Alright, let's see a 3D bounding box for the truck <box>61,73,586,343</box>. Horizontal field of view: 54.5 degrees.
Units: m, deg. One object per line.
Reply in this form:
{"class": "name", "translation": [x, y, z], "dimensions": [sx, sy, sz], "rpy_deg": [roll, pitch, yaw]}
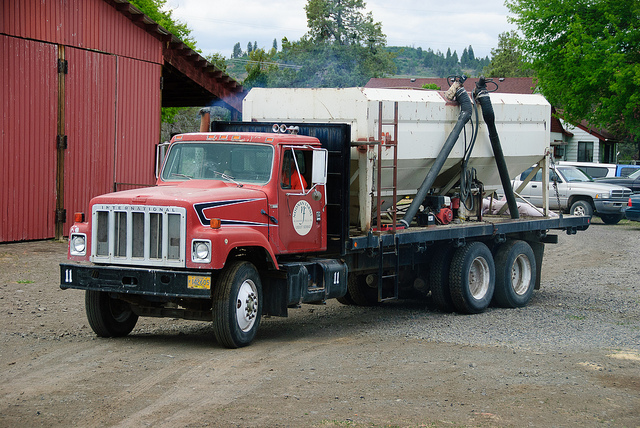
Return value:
{"class": "truck", "translation": [0.771, -0.182, 12.456], "dimensions": [10.279, 4.460, 3.363], "rpy_deg": [-3, 1, -43]}

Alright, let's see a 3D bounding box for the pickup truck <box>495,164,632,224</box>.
{"class": "pickup truck", "translation": [11.010, -1.004, 29.244], "dimensions": [2.794, 2.961, 6.889], "rpy_deg": [-4, 6, -29]}
